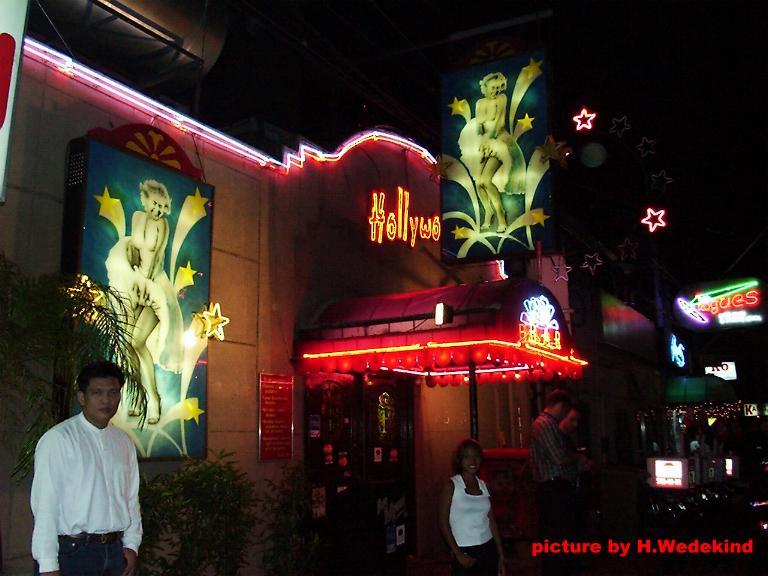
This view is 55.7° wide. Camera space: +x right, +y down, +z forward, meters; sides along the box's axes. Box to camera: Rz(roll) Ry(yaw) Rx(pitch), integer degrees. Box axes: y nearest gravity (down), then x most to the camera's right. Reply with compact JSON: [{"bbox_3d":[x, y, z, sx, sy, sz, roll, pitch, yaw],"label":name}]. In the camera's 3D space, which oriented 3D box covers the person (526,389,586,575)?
[{"bbox_3d":[2.279,2.309,9.569,0.640,1.939,0.513,-1,-14,-6],"label":"person"}]
